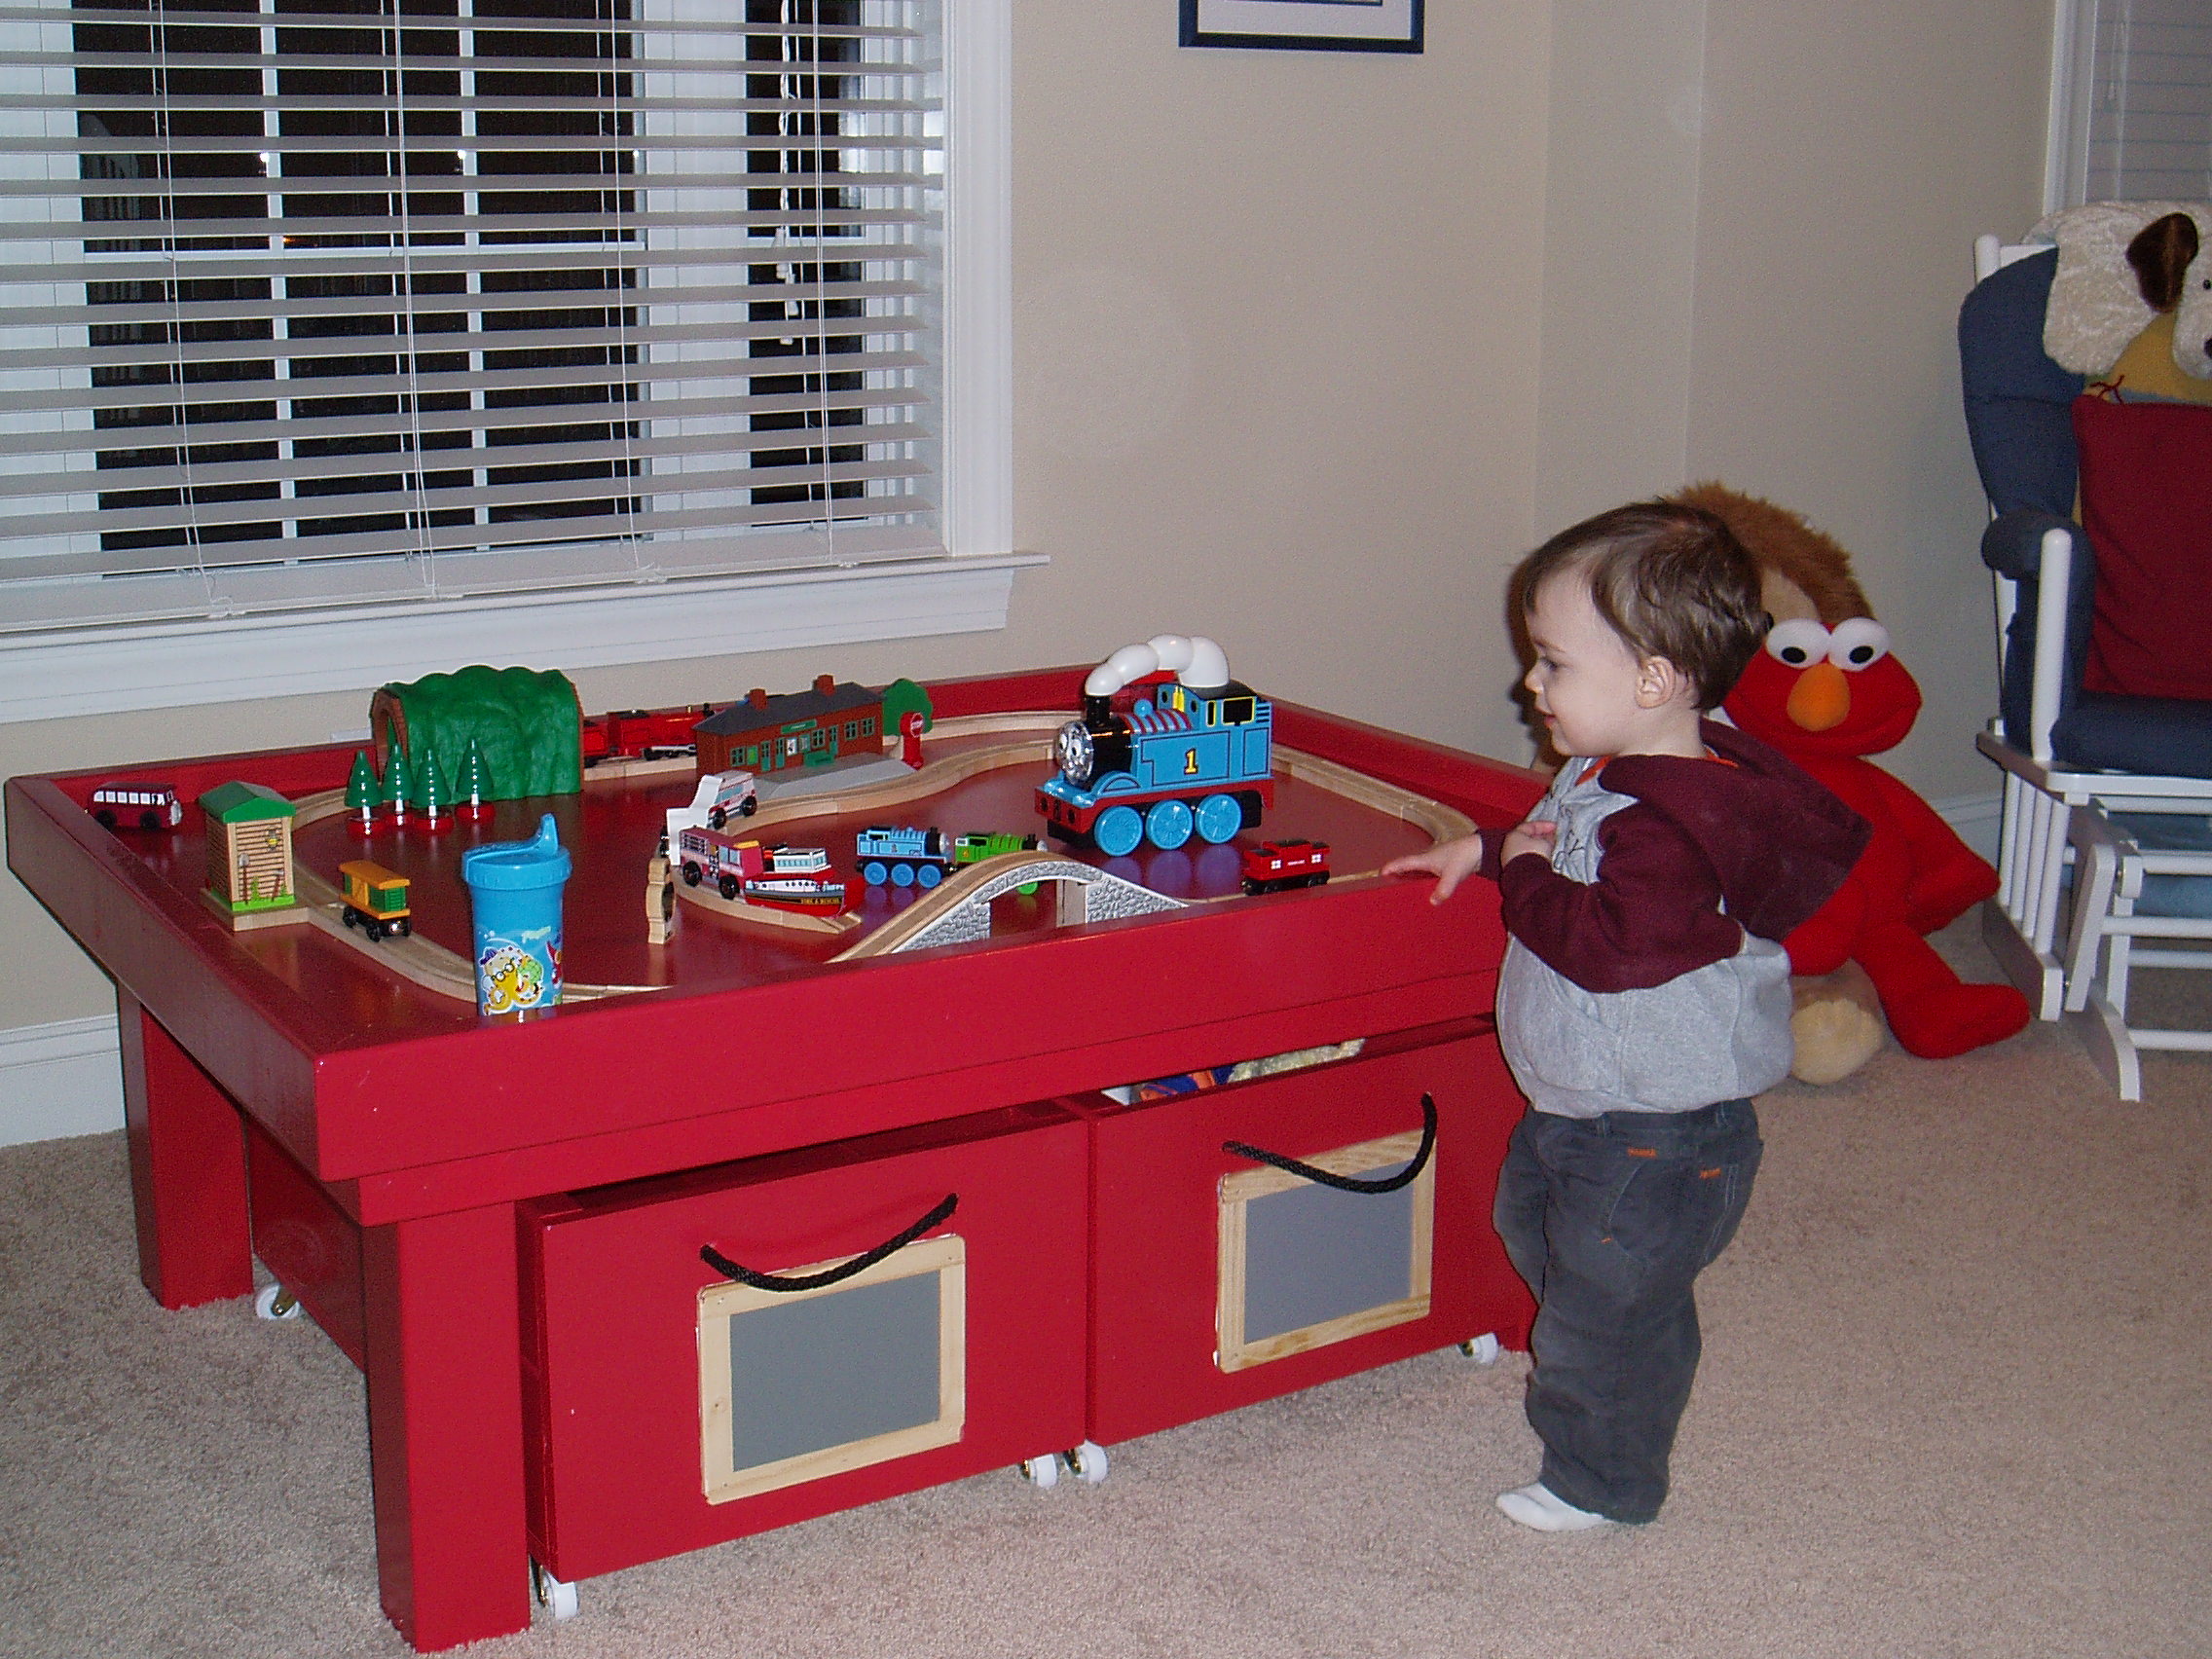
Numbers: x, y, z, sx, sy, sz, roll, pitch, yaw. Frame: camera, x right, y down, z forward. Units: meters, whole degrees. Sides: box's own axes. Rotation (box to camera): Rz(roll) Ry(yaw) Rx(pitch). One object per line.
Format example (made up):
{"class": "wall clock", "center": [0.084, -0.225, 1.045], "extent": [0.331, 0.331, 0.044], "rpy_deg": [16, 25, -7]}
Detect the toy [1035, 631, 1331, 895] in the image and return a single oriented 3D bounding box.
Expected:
{"class": "toy", "center": [0.076, -0.112, 2.087], "extent": [0.355, 0.326, 0.217], "rpy_deg": [-8, 13, -32]}

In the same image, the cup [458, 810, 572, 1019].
{"class": "cup", "center": [-0.510, 0.076, 1.570], "extent": [0.083, 0.162, 0.081], "rpy_deg": [1, 12, 0]}
